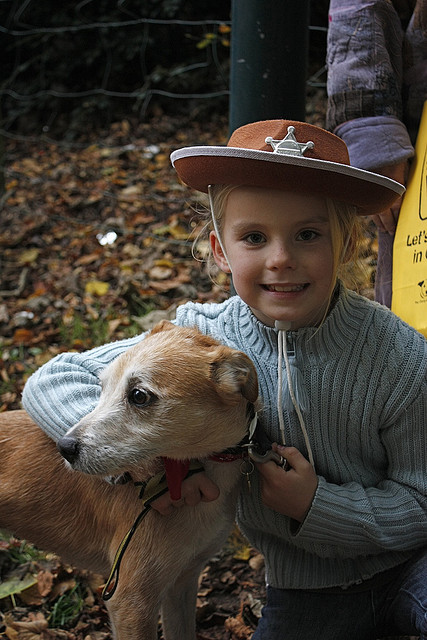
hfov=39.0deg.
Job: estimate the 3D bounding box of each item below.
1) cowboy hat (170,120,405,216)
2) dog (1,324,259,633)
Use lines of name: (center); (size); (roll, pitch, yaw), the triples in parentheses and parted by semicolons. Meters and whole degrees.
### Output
cowboy hat: (0.160, -0.361, 1.480); (0.586, 0.249, 0.264); (2, 21, 13)
dog: (-0.264, 0.448, 1.588); (0.703, 0.879, 0.367); (7, 24, 26)
